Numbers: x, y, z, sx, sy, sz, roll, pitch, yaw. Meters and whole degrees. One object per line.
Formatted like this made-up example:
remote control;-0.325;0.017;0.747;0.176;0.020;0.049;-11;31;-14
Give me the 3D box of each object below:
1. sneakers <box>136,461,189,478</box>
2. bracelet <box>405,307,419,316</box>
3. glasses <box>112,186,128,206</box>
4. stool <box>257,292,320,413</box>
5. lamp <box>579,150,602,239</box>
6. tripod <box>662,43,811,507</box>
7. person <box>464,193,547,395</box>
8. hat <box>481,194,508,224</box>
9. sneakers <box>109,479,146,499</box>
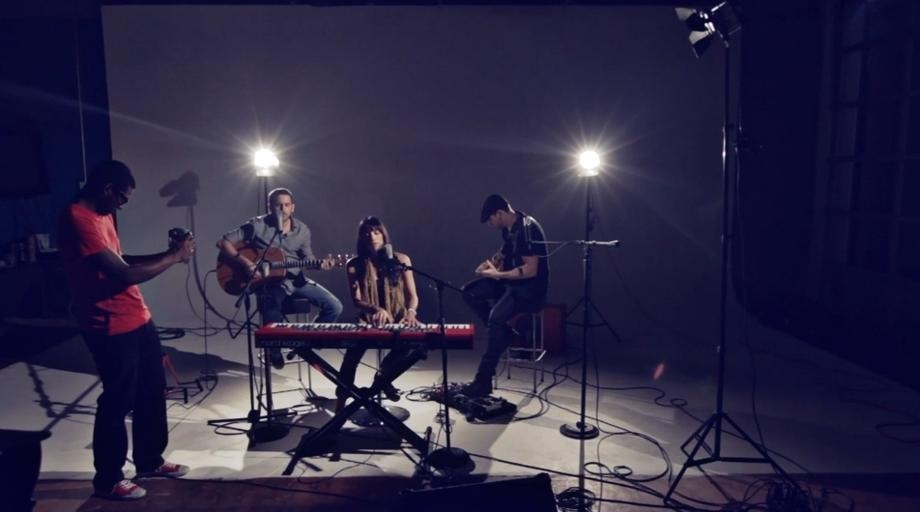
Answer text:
sneakers;-3.294;2.399;7.728;0.569;0.209;0.201;0;-3;-9
bracelet;-0.627;0.702;8.666;0.137;0.062;0.180;6;-10;-21
glasses;-3.669;-0.650;7.480;0.136;0.170;0.108;4;19;-13
stool;-2.395;1.275;9.665;0.719;1.222;0.750;3;-11;-39
lamp;1.596;-0.707;8.751;0.306;1.294;0.294;-1;3;-1
tripod;2.775;0.278;7.787;1.468;4.511;1.509;4;-4;-32
person;0.605;0.495;9.042;1.031;2.609;1.361;6;-22;-13
hat;0.396;-0.623;9.089;0.428;0.232;0.309;-11;10;15
sneakers;-3.600;2.533;7.498;0.352;0.130;0.177;2;1;1
